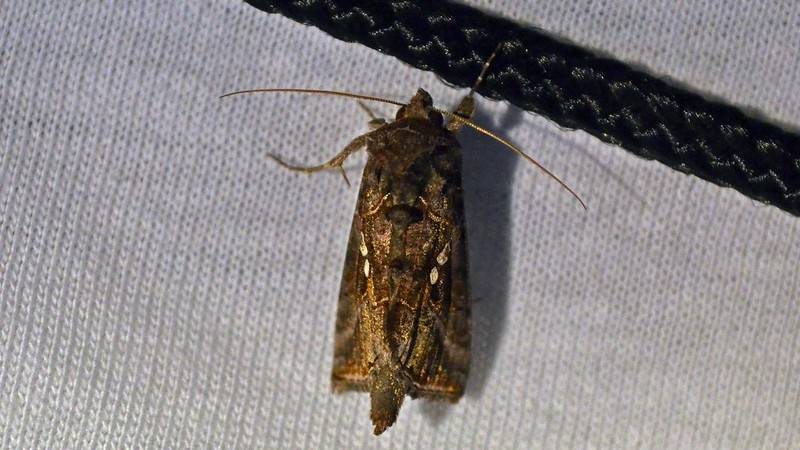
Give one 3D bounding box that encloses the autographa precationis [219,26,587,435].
[{"bbox_3d":[0.086,0.144,8.624,2.209,2.464,0.600,4,-16,2],"label":"autographa precationis"}]
